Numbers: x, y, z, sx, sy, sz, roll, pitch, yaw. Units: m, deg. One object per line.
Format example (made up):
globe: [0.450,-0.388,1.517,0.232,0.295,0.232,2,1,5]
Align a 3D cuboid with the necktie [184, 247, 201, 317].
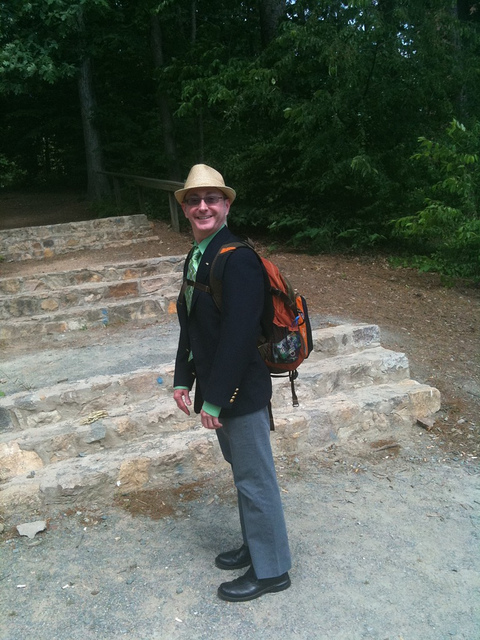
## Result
necktie: [-0.229,-0.188,2.543,0.071,0.336,0.106,8,-21,7]

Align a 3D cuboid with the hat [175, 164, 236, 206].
hat: [-0.171,-0.659,2.554,0.295,0.131,0.368,-4,-4,18]

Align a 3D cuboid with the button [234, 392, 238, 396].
button: [-0.017,0.322,2.302,0.020,0.018,0.008,2,17,-10]

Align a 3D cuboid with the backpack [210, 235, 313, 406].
backpack: [0.143,0.018,2.681,0.476,0.705,0.463,-4,1,6]

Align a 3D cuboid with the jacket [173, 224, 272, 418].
jacket: [-0.079,0.022,2.449,0.433,0.907,0.533,-6,12,-11]

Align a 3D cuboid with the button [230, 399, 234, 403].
button: [-0.032,0.352,2.283,0.010,0.014,0.015,28,2,15]

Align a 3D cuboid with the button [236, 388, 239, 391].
button: [-0.006,0.304,2.302,0.010,0.013,0.013,-1,0,2]

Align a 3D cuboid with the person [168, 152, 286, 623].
person: [-0.070,0.308,2.493,0.452,2.064,0.609,-6,13,-12]
